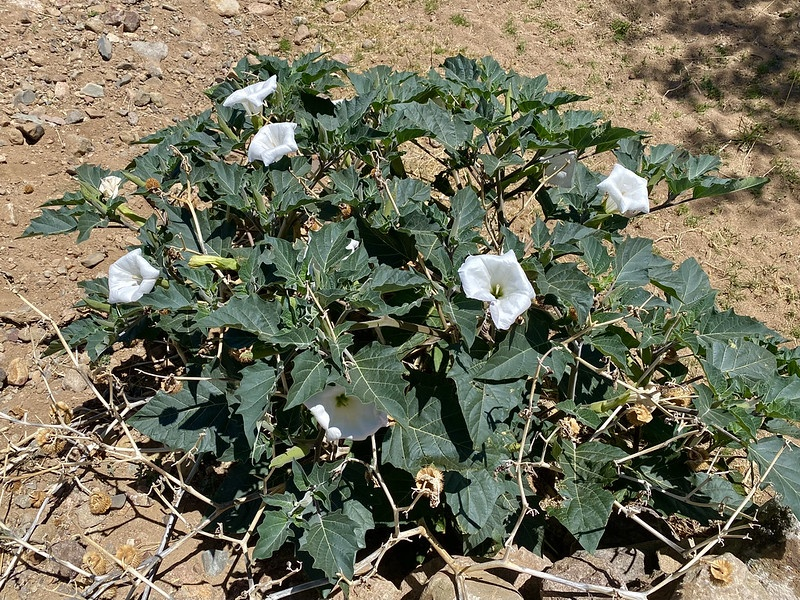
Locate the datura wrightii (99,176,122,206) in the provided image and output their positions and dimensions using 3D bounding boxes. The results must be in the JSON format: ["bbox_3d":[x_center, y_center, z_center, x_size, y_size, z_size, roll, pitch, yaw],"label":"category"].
[{"bbox_3d":[-1.599,-0.617,3.699,0.116,0.070,0.186,6,45,-13],"label":"datura wrightii"}]

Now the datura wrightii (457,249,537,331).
[{"bbox_3d":[0.428,-0.074,2.977,0.269,0.216,0.345,-27,60,-37],"label":"datura wrightii"}]

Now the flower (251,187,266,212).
[{"bbox_3d":[-0.720,-0.529,3.466,0.077,0.113,0.119,6,45,-13],"label":"flower"}]

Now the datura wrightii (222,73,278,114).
[{"bbox_3d":[-0.764,-1.067,3.517,0.234,0.101,0.234,-26,37,-8],"label":"datura wrightii"}]

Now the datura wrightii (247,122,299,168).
[{"bbox_3d":[-0.629,-0.782,3.350,0.239,0.219,0.189,37,47,18],"label":"datura wrightii"}]

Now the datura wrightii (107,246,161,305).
[{"bbox_3d":[-1.246,-0.112,3.208,0.252,0.249,0.099,46,6,14],"label":"datura wrightii"}]
